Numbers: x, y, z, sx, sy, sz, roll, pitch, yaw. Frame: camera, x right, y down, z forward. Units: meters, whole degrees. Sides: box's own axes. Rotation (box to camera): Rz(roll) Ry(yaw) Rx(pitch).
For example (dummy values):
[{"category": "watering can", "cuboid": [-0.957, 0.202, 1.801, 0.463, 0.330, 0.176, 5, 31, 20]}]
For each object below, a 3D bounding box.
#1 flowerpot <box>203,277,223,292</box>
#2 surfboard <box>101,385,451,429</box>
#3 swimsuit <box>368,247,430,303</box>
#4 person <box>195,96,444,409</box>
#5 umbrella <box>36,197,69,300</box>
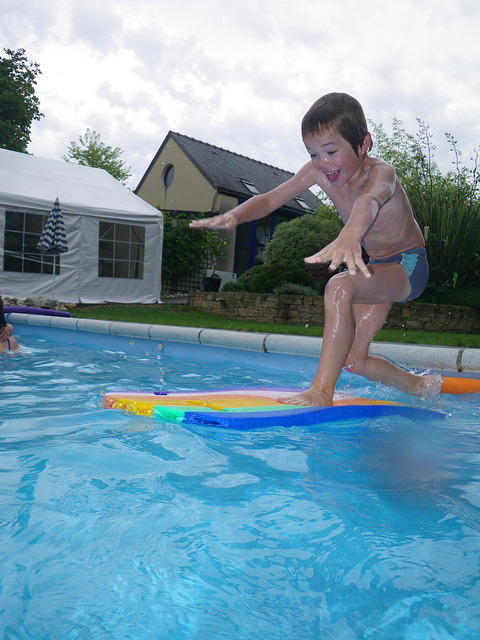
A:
[{"category": "flowerpot", "cuboid": [-0.783, -0.964, 14.468, 0.488, 0.307, 0.451, 1, 4, -5]}, {"category": "surfboard", "cuboid": [0.168, 0.384, 2.426, 1.388, 0.118, 0.788, 1, 2, -34]}, {"category": "swimsuit", "cuboid": [0.748, -0.245, 2.512, 0.281, 0.321, 0.379, 1, 2, 13]}, {"category": "person", "cuboid": [0.386, -0.229, 2.514, 0.886, 1.390, 1.528, 4, 2, 32]}, {"category": "umbrella", "cuboid": [-3.591, -1.373, 9.882, 0.532, 1.987, 1.086, 2, 2, -20]}]
